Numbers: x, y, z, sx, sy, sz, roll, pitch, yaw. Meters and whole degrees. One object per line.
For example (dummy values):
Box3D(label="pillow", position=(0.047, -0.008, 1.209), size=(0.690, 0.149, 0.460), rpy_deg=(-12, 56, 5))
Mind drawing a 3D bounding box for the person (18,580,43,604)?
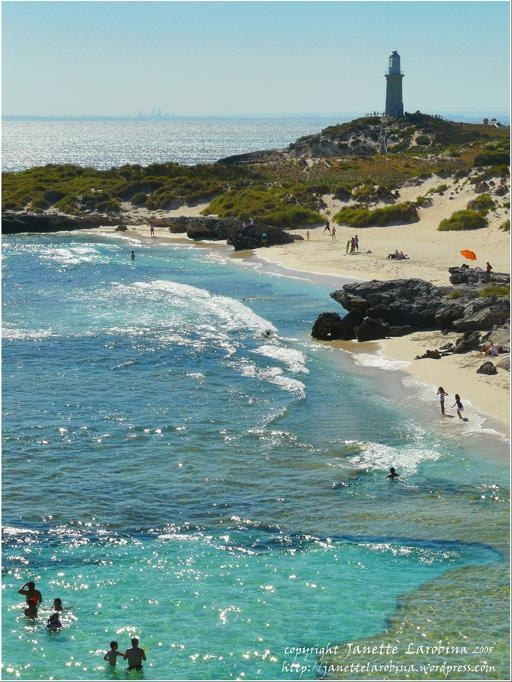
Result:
Box3D(label="person", position=(-5.129, 5.627, 28.216), size=(0.509, 0.632, 0.989), rpy_deg=(-2, 6, -11))

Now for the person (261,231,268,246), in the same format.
Box3D(label="person", position=(0.548, -5.766, 70.770), size=(0.353, 0.780, 0.846), rpy_deg=(-1, 6, 0))

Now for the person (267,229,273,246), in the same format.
Box3D(label="person", position=(0.874, -5.910, 70.934), size=(0.316, 0.901, 0.418), rpy_deg=(-1, 6, 0))

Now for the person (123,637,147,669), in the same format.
Box3D(label="person", position=(-2.492, 6.559, 26.406), size=(0.363, 0.689, 0.559), rpy_deg=(4, 8, 36))
